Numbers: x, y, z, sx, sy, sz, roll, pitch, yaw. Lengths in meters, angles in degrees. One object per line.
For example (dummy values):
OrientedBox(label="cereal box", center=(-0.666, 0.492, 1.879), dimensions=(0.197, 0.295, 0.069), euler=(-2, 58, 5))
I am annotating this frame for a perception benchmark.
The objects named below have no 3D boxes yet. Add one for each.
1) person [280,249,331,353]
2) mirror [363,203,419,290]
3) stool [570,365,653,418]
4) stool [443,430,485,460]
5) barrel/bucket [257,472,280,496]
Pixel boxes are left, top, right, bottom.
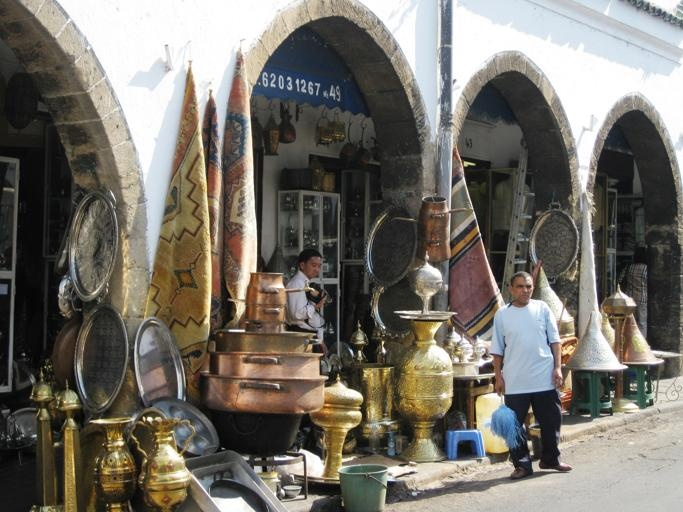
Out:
OrientedBox(label="person", center=(-0.383, 0.443, 9.133), dimensions=(0.462, 1.260, 0.467), euler=(13, 9, 33))
OrientedBox(label="mirror", center=(0.563, -0.142, 9.546), dimensions=(0.332, 1.041, 0.498), euler=(0, 10, -4))
OrientedBox(label="stool", center=(3.402, 1.737, 10.905), dimensions=(0.763, 1.059, 0.666), euler=(2, -4, -23))
OrientedBox(label="stool", center=(1.256, 1.939, 8.715), dimensions=(0.276, 0.236, 0.312), euler=(1, -12, -8))
OrientedBox(label="barrel/bucket", center=(-0.610, 1.927, 7.362), dimensions=(0.221, 0.310, 0.249), euler=(1, -8, -5))
